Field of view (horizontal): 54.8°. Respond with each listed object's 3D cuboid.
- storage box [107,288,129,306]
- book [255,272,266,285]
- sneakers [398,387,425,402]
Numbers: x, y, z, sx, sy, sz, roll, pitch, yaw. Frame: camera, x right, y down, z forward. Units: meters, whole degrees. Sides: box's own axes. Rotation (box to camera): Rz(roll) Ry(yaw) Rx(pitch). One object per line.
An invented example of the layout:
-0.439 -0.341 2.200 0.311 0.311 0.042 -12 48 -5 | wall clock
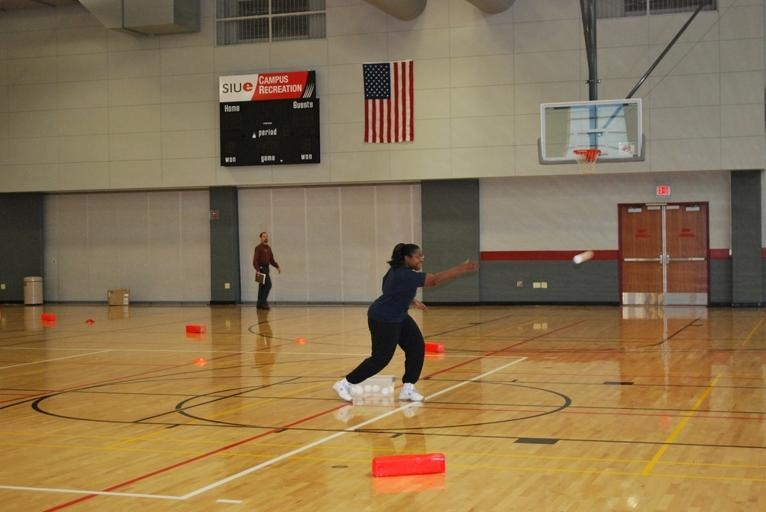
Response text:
-8.834 1.295 24.287 0.654 0.393 0.589 0 1 -2 | storage box
-3.558 0.580 21.205 0.354 0.285 0.075 9 19 -3 | book
0.414 1.769 9.574 0.444 0.239 0.132 1 3 1 | sneakers
